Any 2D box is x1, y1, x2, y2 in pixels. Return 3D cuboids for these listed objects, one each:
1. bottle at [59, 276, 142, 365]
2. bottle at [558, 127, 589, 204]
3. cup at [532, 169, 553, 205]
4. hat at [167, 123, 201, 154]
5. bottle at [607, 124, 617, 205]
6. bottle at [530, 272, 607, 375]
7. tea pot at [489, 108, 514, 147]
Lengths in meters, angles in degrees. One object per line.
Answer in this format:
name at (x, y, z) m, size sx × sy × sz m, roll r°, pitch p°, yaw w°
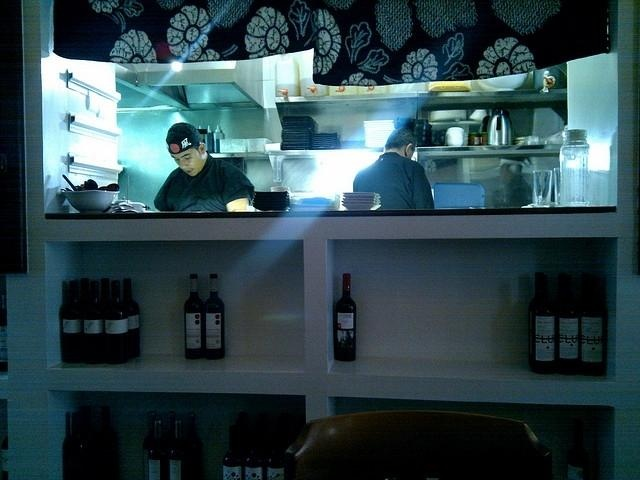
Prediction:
bottle at (-0.775, 0.260, 2.472) m, size 0.282 × 0.412 × 0.296 m, roll -1°, pitch 1°, yaw 0°
bottle at (0.872, -0.243, 2.333) m, size 0.098 × 0.260 × 0.096 m, roll -2°, pitch -2°, yaw 0°
cup at (0.788, -0.182, 2.402) m, size 0.067 × 0.146 × 0.219 m, roll -2°, pitch -2°, yaw 19°
hat at (-0.678, -0.509, 3.434) m, size 0.138 × 0.134 × 0.172 m, roll -3°, pitch 5°, yaw 5°
bottle at (0.969, -0.237, 2.254) m, size 0.014 × 0.243 × 0.060 m, roll -1°, pitch -2°, yaw -4°
bottle at (0.836, 0.279, 2.293) m, size 0.239 × 0.339 × 0.079 m, roll -2°, pitch -2°, yaw 0°
tea pot at (1.183, -0.720, 4.462) m, size 0.144 × 0.230 × 0.239 m, roll 3°, pitch 10°, yaw 20°
